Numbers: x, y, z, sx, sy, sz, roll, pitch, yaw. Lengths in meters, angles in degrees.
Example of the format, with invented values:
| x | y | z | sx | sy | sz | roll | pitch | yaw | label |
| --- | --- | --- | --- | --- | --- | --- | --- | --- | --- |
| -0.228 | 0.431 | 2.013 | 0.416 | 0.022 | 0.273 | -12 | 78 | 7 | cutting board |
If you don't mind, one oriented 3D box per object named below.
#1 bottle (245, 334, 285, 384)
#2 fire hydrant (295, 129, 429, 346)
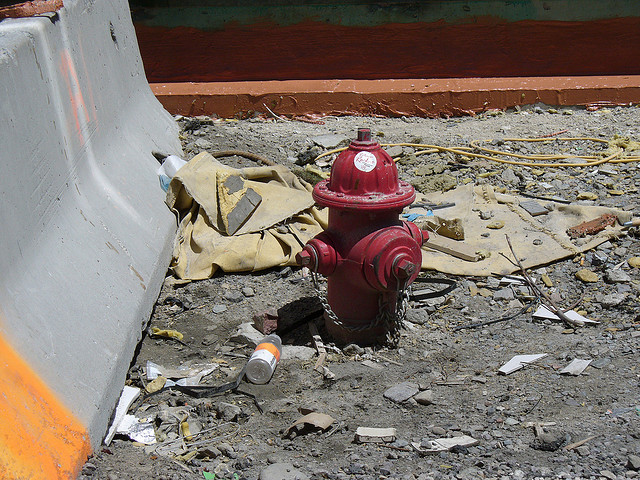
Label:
| x | y | z | sx | sy | sz | roll | pitch | yaw | label |
| --- | --- | --- | --- | --- | --- | --- | --- | --- | --- |
| -0.363 | 0.770 | 3.689 | 0.167 | 0.166 | 0.360 | 3 | 26 | 14 | bottle |
| 0.336 | -0.009 | 3.943 | 0.871 | 1.419 | 0.800 | 6 | 21 | 16 | fire hydrant |
